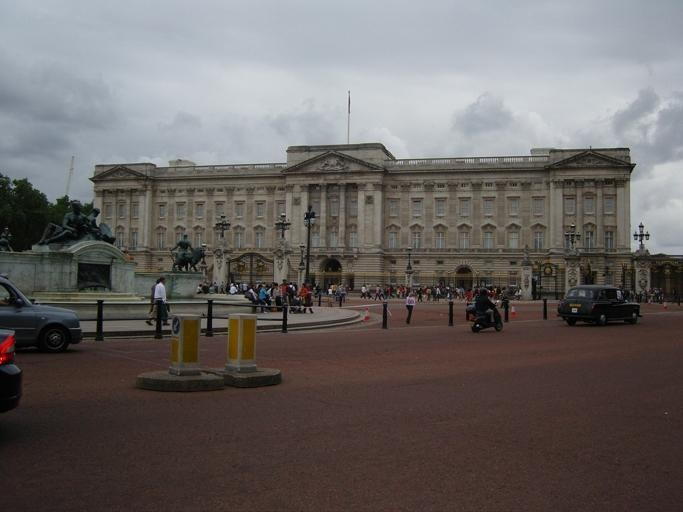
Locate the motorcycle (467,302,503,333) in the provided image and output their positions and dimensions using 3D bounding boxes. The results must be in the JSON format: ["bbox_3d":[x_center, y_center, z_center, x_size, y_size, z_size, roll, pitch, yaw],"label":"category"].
[{"bbox_3d":[5.398,2.361,27.456,1.605,1.077,0.772,1,2,-35],"label":"motorcycle"}]

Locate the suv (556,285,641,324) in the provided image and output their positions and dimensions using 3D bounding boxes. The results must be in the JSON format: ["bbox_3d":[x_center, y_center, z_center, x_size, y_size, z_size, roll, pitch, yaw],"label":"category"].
[{"bbox_3d":[11.019,2.055,30.911,3.030,1.327,1.718,0,0,-33],"label":"suv"}]

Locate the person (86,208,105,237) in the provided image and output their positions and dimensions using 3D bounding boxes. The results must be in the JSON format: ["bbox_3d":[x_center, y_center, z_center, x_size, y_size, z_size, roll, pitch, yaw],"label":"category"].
[{"bbox_3d":[-10.932,-1.494,32.132,0.582,1.320,2.711,1,1,-18],"label":"person"}]
